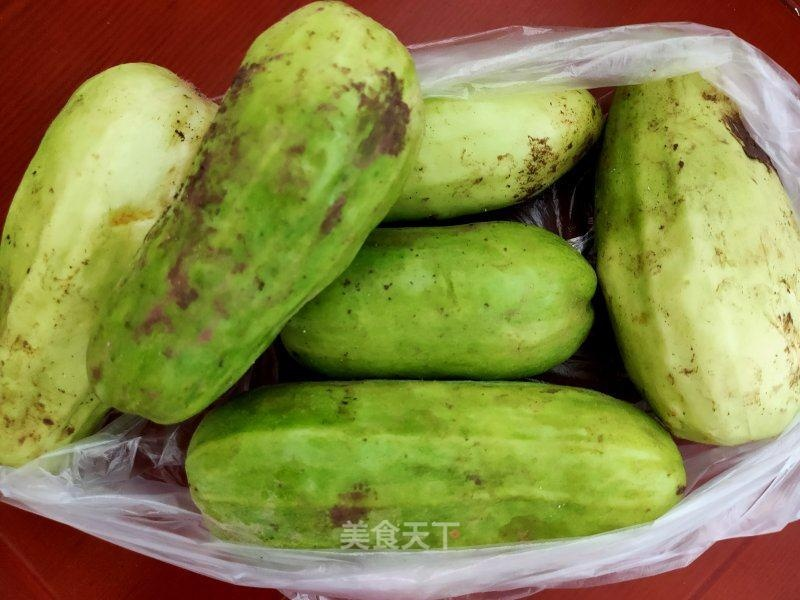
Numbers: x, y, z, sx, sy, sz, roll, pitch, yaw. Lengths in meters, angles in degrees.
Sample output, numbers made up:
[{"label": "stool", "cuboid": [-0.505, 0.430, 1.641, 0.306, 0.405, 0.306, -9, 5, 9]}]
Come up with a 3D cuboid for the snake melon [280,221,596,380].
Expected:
[{"label": "snake melon", "cuboid": [0.055, -0.005, 1.325, 0.417, 0.187, 0.172, -2, 105, 1]}]

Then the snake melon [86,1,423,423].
[{"label": "snake melon", "cuboid": [-0.162, -0.109, 1.212, 0.292, 0.242, 0.571, 39, 86, -4]}]

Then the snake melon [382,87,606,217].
[{"label": "snake melon", "cuboid": [0.106, -0.200, 1.309, 0.315, 0.143, 0.127, -8, 73, 1]}]
